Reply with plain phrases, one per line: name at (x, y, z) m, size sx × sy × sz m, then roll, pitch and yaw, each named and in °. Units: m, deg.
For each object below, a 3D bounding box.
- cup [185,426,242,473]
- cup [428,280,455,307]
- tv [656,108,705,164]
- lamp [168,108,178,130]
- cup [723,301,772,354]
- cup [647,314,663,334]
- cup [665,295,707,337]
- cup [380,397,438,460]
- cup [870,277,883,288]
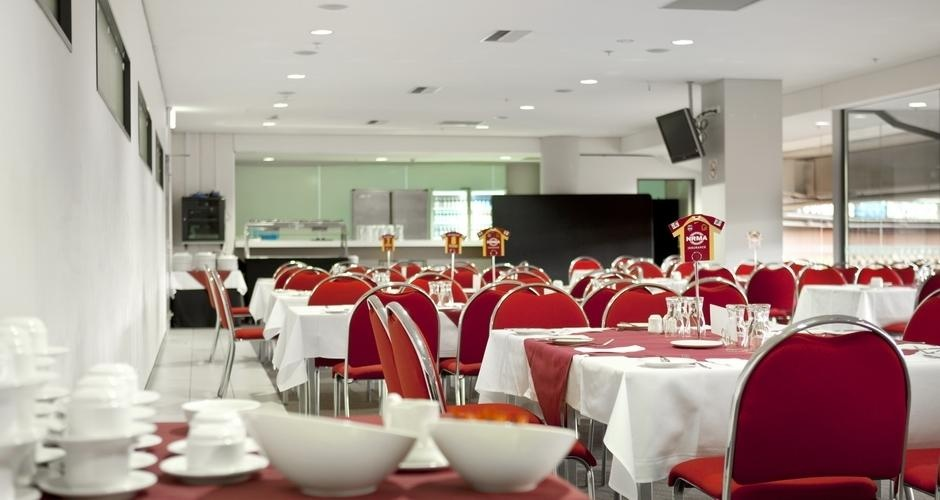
cup at (-0.754, 0.587, 1.999) m, size 0.149 × 0.114 × 0.140 m, roll 1°, pitch -1°, yaw 0°
cup at (-0.237, 0.379, 5.767) m, size 0.219 × 0.190 × 0.207 m, roll -2°, pitch -1°, yaw 0°
tv at (3.440, -1.848, 11.068) m, size 0.340 × 0.789 × 0.896 m, roll -2°, pitch 1°, yaw -10°
lamp at (-5.237, -2.310, 12.010) m, size 0.115 × 0.379 × 1.354 m, roll -2°, pitch 1°, yaw -22°
cup at (1.457, 0.420, 3.737) m, size 0.295 × 0.261 × 0.175 m, roll 2°, pitch -3°, yaw 10°
cup at (1.113, 0.455, 4.134) m, size 0.108 × 0.102 × 0.103 m, roll 0°, pitch 4°, yaw 0°
cup at (1.257, 0.390, 4.000) m, size 0.256 × 0.217 × 0.242 m, roll 0°, pitch -3°, yaw 0°
cup at (-0.183, 0.530, 2.078) m, size 0.200 × 0.189 × 0.177 m, roll -1°, pitch -1°, yaw 5°
cup at (4.093, 0.338, 6.892) m, size 0.149 × 0.114 × 0.108 m, roll 1°, pitch -5°, yaw -12°
